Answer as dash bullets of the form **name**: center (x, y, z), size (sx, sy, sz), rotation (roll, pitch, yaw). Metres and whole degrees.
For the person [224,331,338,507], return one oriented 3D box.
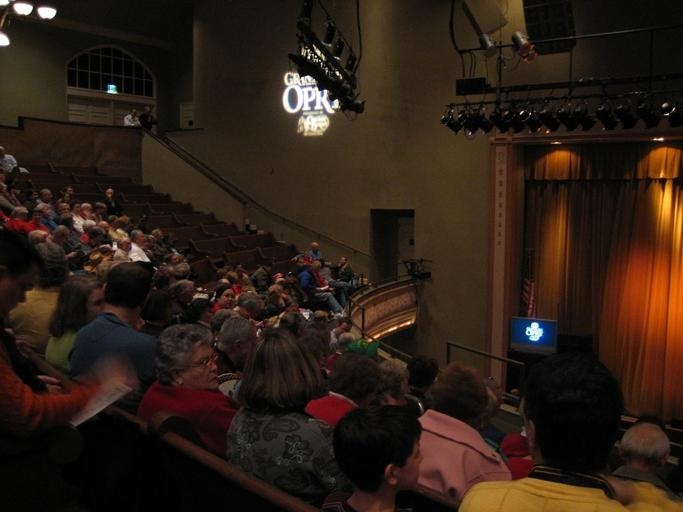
- **person**: center (-0.280, 0.744, 2.249), size (0.501, 0.791, 0.416), rotation (6, 13, 26)
